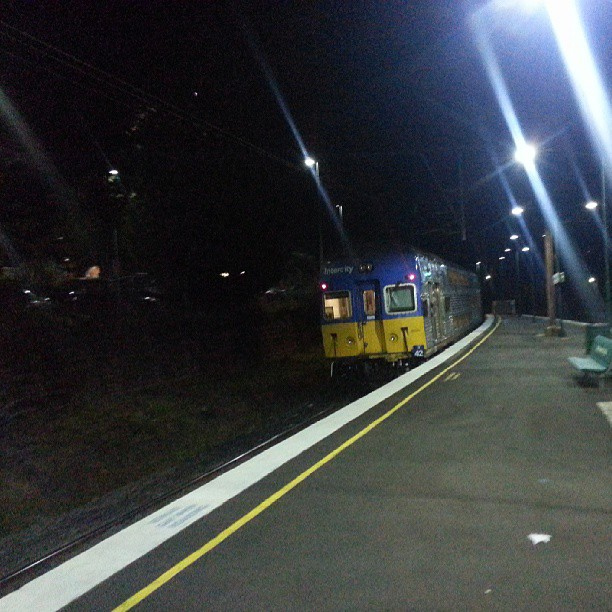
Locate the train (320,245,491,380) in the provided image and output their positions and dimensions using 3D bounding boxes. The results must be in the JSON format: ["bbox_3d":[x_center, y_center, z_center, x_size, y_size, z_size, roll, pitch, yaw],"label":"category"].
[{"bbox_3d":[5.188,0.246,20.420,2.641,4.681,13.935,-4,-1,29],"label":"train"}]
